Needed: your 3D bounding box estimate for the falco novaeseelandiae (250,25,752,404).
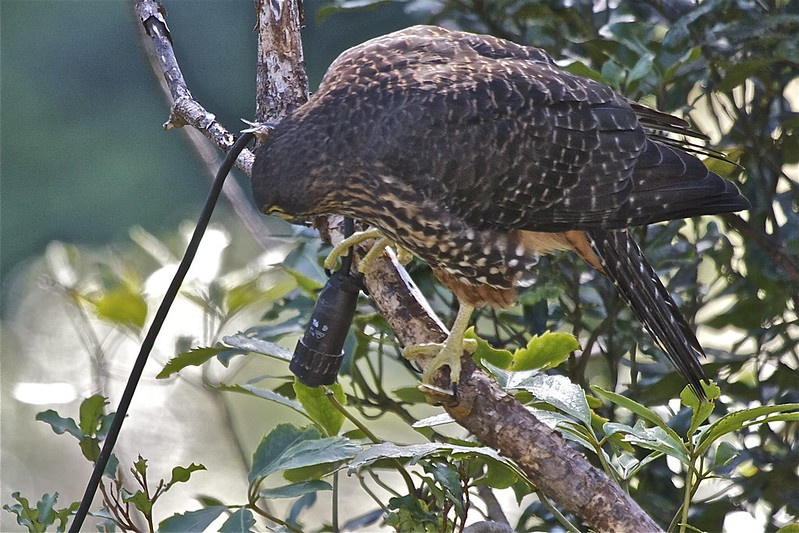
[{"bbox_3d":[0.298,-0.153,3.349,1.565,0.583,0.888,0,-63,-17],"label":"falco novaeseelandiae"}]
